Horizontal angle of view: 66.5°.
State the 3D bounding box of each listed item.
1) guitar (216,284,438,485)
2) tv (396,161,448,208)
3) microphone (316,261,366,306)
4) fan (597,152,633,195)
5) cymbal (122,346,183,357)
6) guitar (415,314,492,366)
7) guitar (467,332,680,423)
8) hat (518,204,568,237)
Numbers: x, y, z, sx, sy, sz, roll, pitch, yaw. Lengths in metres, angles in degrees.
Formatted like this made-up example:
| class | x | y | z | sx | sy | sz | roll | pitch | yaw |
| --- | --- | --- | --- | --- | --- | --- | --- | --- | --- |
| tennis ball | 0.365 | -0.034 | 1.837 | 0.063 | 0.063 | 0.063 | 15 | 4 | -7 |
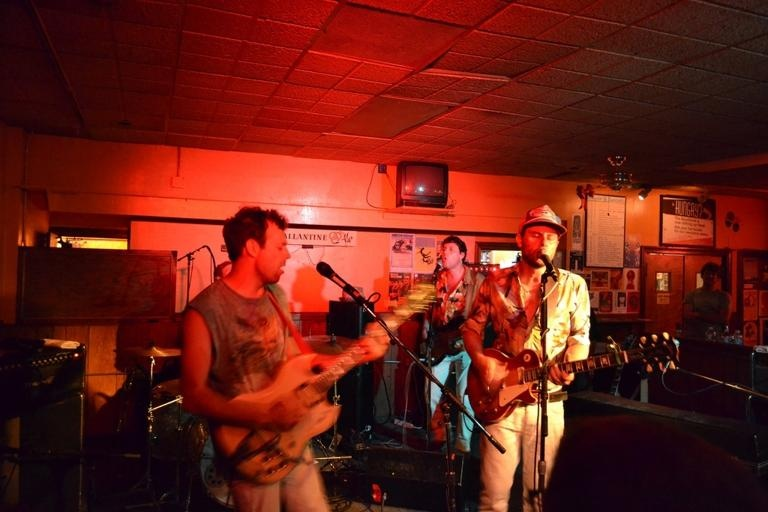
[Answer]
| class | x | y | z | sx | sy | sz | roll | pitch | yaw |
| --- | --- | --- | --- | --- | --- | --- | --- | --- | --- |
| guitar | -0.344 | 0.774 | 3.833 | 0.618 | 1.103 | 1.385 | 1 | 1 | 32 |
| tv | 0.496 | -0.924 | 8.196 | 0.939 | 0.800 | 0.555 | 1 | -4 | -11 |
| microphone | -0.538 | 0.331 | 6.836 | 0.765 | 0.176 | 0.199 | 38 | 37 | 2 |
| fan | 3.222 | -1.134 | 8.027 | 0.466 | 0.548 | 0.451 | 2 | -5 | -17 |
| cymbal | -2.282 | 0.944 | 5.772 | 0.365 | 0.073 | 0.361 | 6 | 3 | 17 |
| guitar | 0.669 | 0.828 | 5.753 | 0.963 | 0.338 | 0.136 | -11 | -15 | 23 |
| guitar | 1.472 | 0.952 | 4.545 | 1.387 | 0.470 | 0.187 | -11 | -19 | 15 |
| hat | 1.120 | -0.261 | 4.190 | 0.235 | 0.140 | 0.337 | 10 | 0 | 8 |
